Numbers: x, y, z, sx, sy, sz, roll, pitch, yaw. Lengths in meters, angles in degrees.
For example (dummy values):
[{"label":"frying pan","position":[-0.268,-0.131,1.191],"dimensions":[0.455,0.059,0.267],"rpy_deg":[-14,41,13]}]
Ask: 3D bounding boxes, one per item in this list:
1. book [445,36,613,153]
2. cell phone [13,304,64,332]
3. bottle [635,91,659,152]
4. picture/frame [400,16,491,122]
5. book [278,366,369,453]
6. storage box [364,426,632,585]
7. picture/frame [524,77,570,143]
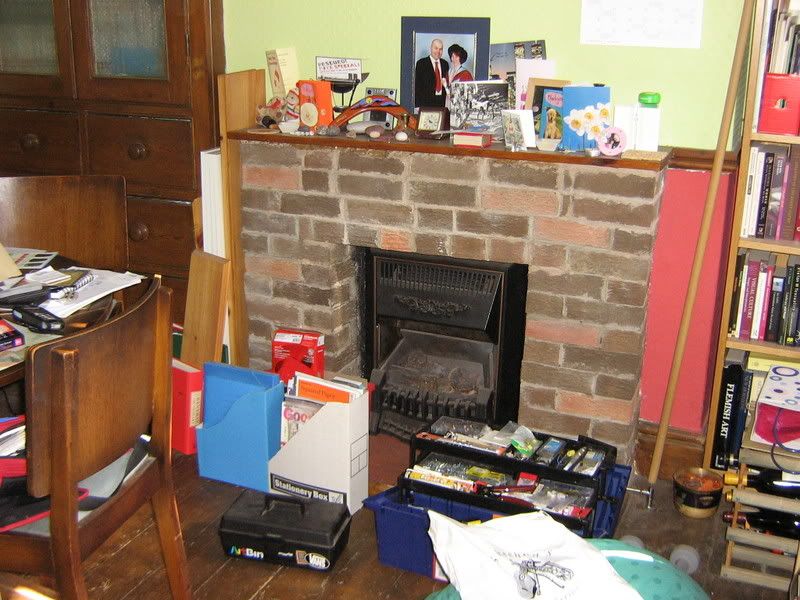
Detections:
[{"label":"book","position":[0.501,-0.705,2.333],"dimensions":[0.642,0.346,0.229],"rpy_deg":[12,19,37]},{"label":"cell phone","position":[-0.951,0.046,1.682],"dimensions":[0.118,0.039,0.070],"rpy_deg":[22,31,25]},{"label":"bottle","position":[0.869,-0.623,2.254],"dimensions":[0.091,0.195,0.065],"rpy_deg":[0,15,2]},{"label":"picture/frame","position":[0.187,-0.919,2.526],"dimensions":[0.422,0.432,0.015],"rpy_deg":[5,11,15]},{"label":"book","position":[-0.285,0.378,2.388],"dimensions":[0.277,0.281,0.174],"rpy_deg":[5,2,24]},{"label":"storage box","position":[0.336,0.686,2.061],"dimensions":[0.898,0.393,0.412],"rpy_deg":[-1,15,-4]},{"label":"picture/frame","position":[0.525,-0.675,2.306],"dimensions":[0.217,0.282,0.027],"rpy_deg":[10,26,36]}]
